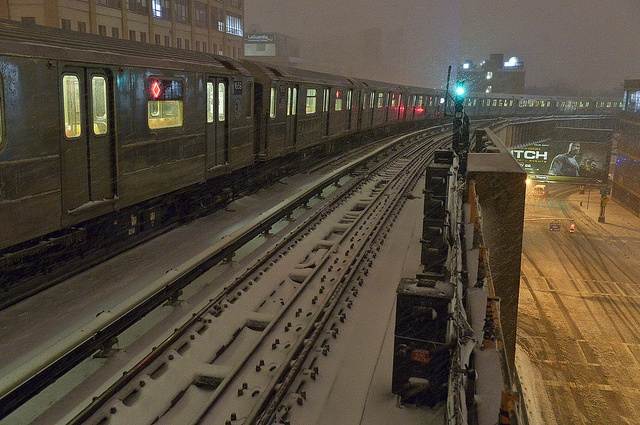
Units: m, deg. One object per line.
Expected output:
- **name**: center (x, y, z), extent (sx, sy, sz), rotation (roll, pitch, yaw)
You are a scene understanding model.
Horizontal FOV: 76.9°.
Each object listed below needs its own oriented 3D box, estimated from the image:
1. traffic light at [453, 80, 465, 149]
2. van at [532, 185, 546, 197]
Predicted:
- **traffic light**: center (4.694, -3.223, 13.606), extent (0.365, 2.417, 0.358), rotation (11, 46, 28)
- **van**: center (36.487, -3.654, 66.613), extent (1.333, 1.043, 2.420), rotation (8, 27, 37)
